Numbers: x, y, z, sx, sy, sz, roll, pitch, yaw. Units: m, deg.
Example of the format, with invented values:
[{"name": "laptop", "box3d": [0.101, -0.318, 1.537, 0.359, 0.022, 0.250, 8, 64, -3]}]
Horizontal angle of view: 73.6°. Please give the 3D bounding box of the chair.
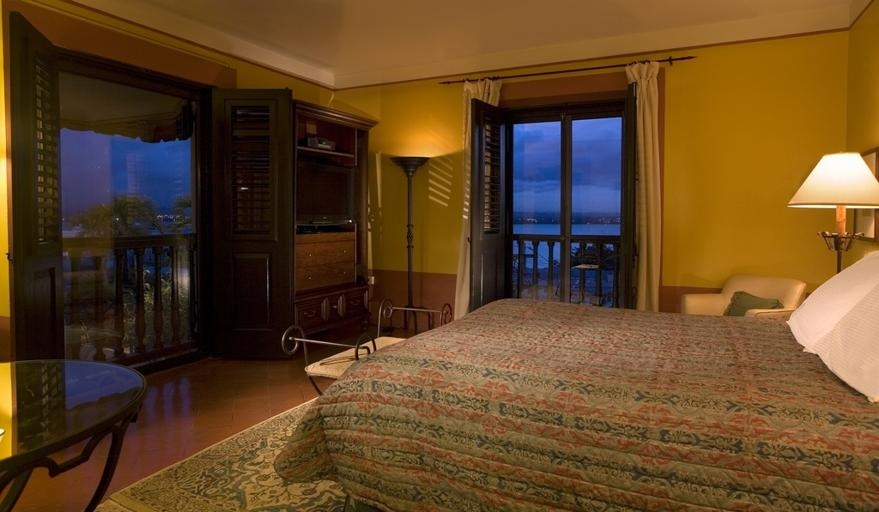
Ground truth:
[{"name": "chair", "box3d": [2.899, 0.353, 5.606, 0.703, 0.733, 0.718, 6, 0, -24]}]
